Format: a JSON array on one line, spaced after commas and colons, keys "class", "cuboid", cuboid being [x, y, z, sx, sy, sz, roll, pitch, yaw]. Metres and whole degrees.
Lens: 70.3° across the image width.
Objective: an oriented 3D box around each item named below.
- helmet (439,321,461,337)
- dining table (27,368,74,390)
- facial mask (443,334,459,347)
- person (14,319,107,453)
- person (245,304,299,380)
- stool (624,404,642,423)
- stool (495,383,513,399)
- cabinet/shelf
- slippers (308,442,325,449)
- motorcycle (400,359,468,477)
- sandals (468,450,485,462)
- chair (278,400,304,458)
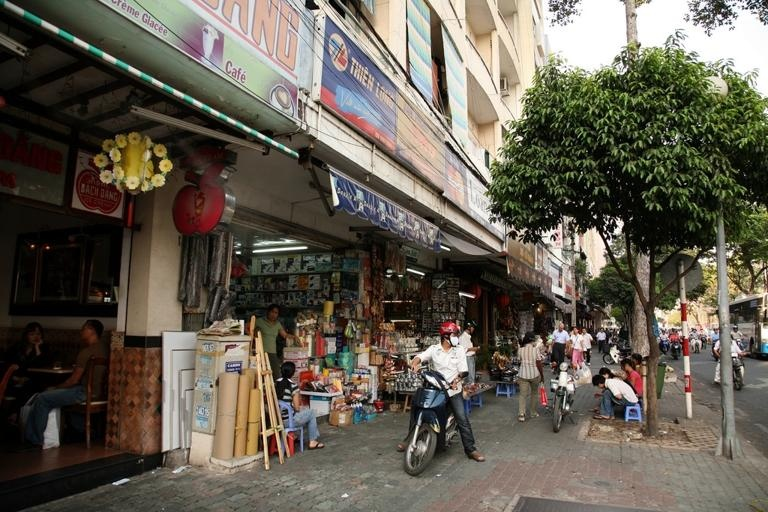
[{"class": "helmet", "cuboid": [1.223, 1.294, 9.807, 0.401, 0.340, 0.372, -6, 0, -12]}, {"class": "dining table", "cuboid": [-5.949, 2.208, 9.801, 0.425, 0.443, 0.444, 2, -13, -10]}, {"class": "facial mask", "cuboid": [1.204, 1.496, 9.673, 0.225, 0.144, 0.183, 1, -5, 21]}, {"class": "person", "cuboid": [-5.246, 2.085, 9.119, 1.203, 2.023, 0.689, 0, -1, 15]}, {"class": "person", "cuboid": [-2.305, 1.781, 11.145, 0.806, 1.557, 2.413, 0, -2, 1]}, {"class": "stool", "cuboid": [5.382, 3.385, 11.846, 0.322, 0.383, 0.350, 0, -2, 26]}, {"class": "stool", "cuboid": [3.424, 3.818, 15.541, 0.376, 0.403, 0.399, 1, 0, 15]}, {"class": "cabinet/shelf", "cuboid": [-2.216, 0.881, 13.732, 3.192, 0.954, 0.491, -1, -2, 22]}, {"class": "slippers", "cuboid": [-1.183, 3.369, 9.724, 0.202, 0.072, 0.116, 1, -2, -15]}, {"class": "motorcycle", "cuboid": [0.783, 2.738, 9.175, 0.650, 1.546, 1.257, 0, -2, 28]}, {"class": "sandals", "cuboid": [1.588, 3.403, 9.339, 0.301, 0.161, 0.240, 1, -2, -5]}, {"class": "chair", "cuboid": [-1.586, 2.966, 9.649, 0.358, 0.937, 0.713, 0, -2, 7]}]
